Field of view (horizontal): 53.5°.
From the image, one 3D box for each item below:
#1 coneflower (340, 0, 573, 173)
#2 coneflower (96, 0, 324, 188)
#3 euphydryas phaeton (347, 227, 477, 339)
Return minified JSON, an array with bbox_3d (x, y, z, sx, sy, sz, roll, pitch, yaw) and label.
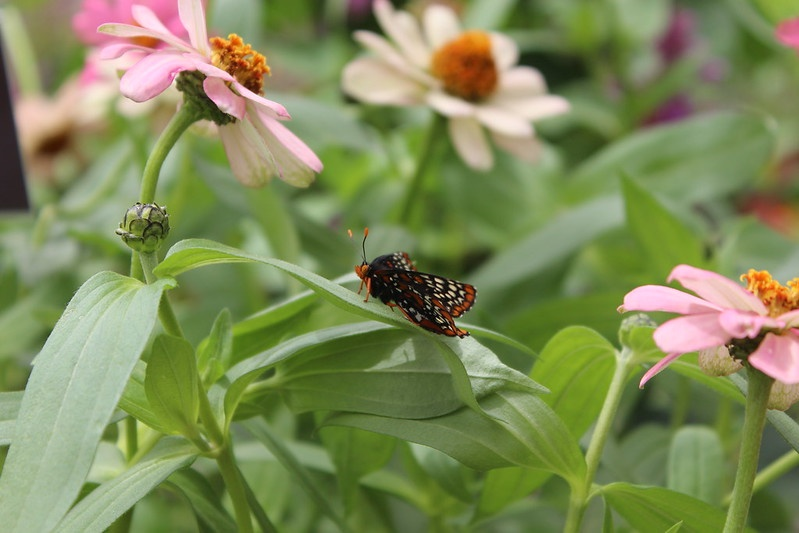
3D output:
[{"bbox_3d":[0.057,-0.202,0.870,0.216,0.199,0.121,-16,0,-18],"label":"coneflower"},{"bbox_3d":[-0.183,-0.164,0.755,0.176,0.190,0.117,-16,-1,-18],"label":"coneflower"},{"bbox_3d":[0.013,-0.001,0.826,0.109,0.067,0.114,11,7,1],"label":"euphydryas phaeton"}]
